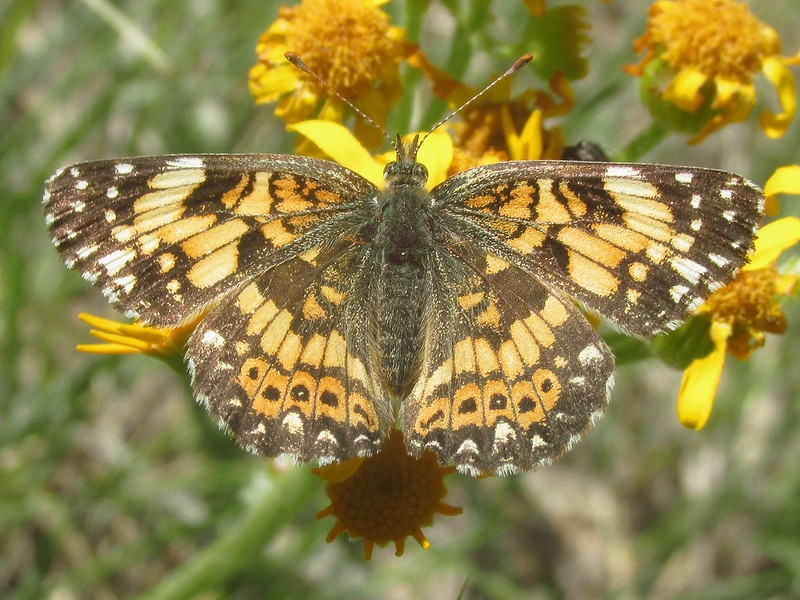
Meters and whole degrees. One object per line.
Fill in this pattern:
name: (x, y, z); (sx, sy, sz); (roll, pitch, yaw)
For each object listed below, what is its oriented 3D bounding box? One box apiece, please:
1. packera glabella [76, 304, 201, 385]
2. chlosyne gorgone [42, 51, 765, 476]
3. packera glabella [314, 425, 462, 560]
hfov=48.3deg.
packera glabella: (-0.601, 0.092, 2.057); (0.179, 0.224, 0.067); (19, 67, -31)
chlosyne gorgone: (0.015, 0.004, 1.946); (1.814, 0.178, 0.959); (3, 92, 4)
packera glabella: (-0.037, 0.469, 2.123); (0.316, 0.078, 0.296); (-36, 78, -16)
